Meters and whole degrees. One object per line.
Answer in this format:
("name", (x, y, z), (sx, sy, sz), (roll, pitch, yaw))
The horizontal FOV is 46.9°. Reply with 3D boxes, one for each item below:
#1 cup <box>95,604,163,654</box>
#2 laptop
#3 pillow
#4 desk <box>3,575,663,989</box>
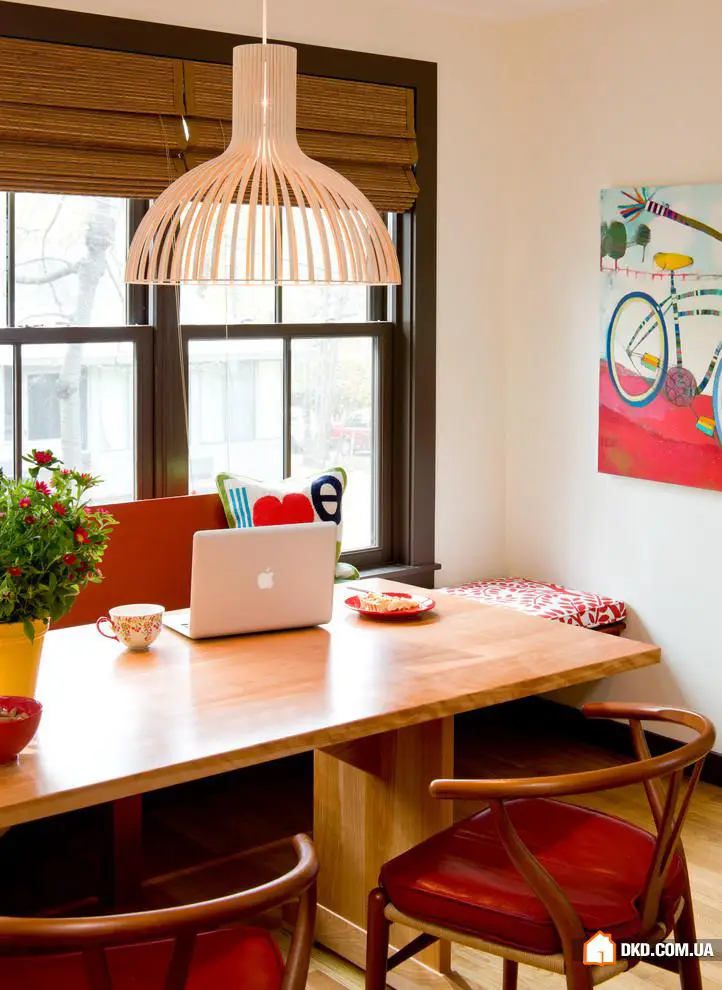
("cup", (-0.470, 0.249, 1.686), (0.121, 0.067, 0.097), (-4, 9, -9))
("laptop", (-0.246, 0.173, 1.812), (0.316, 0.219, 0.249), (-2, 3, -23))
("pillow", (-0.220, 0.059, 2.311), (0.408, 0.358, 0.139), (-1, -15, -42))
("desk", (-0.101, 0.528, 1.532), (0.984, 0.464, 0.527), (-6, 8, -43))
